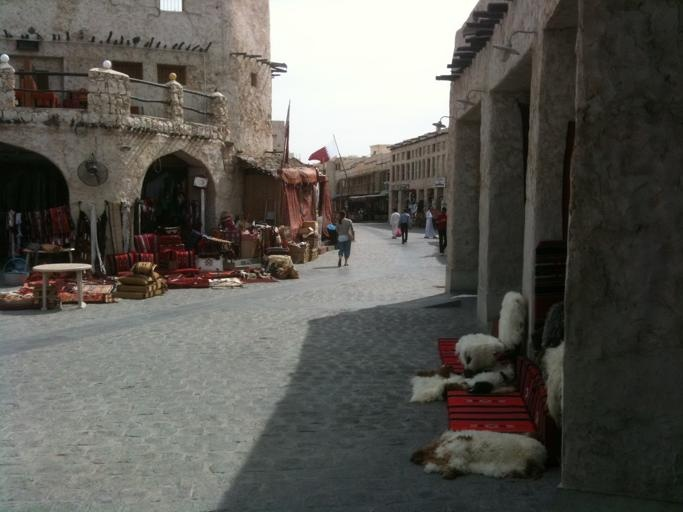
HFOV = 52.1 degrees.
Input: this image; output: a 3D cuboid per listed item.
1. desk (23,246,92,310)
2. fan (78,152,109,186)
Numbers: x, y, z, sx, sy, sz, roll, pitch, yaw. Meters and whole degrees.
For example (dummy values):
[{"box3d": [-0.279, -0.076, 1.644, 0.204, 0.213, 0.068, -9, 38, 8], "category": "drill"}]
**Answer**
[{"box3d": [-5.369, 0.313, 13.375, 1.253, 0.970, 1.283, 1, 8, -9], "category": "desk"}, {"box3d": [-6.073, -2.137, 17.157, 0.711, 0.708, 0.772, -4, -4, -19], "category": "fan"}]
